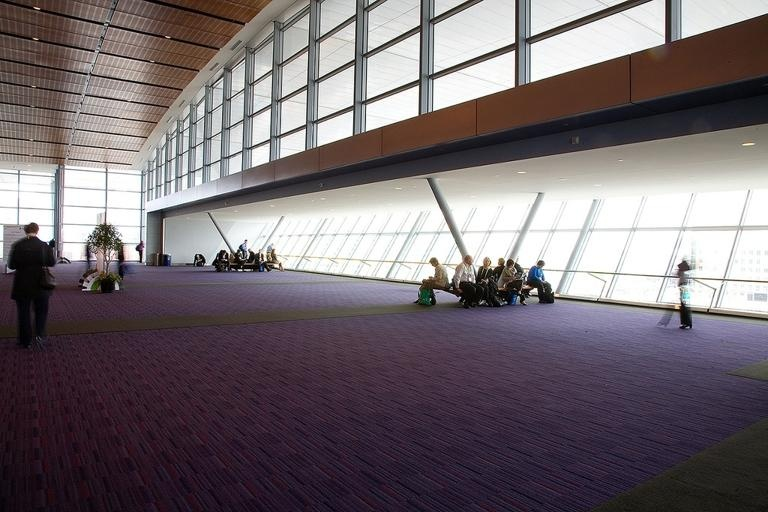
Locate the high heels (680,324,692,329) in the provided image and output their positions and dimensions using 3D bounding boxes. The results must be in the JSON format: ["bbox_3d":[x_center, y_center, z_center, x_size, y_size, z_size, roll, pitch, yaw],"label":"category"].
[{"bbox_3d":[7.190,1.686,8.919,0.345,0.105,0.108,2,-9,0],"label":"high heels"}]
